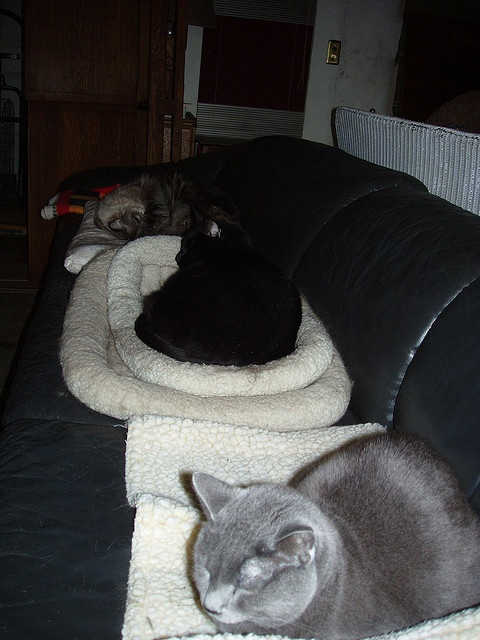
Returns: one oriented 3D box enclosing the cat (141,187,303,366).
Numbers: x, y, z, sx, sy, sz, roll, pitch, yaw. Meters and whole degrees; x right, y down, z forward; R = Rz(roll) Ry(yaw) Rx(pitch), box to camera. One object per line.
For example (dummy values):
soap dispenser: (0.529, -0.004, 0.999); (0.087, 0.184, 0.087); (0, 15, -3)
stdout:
cat: (-0.050, -0.083, 1.000); (0.229, 0.117, 0.318); (-4, 36, -11)
